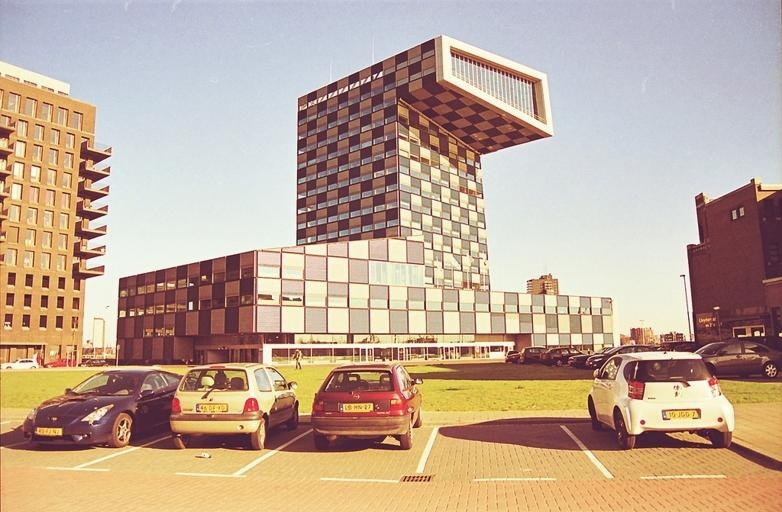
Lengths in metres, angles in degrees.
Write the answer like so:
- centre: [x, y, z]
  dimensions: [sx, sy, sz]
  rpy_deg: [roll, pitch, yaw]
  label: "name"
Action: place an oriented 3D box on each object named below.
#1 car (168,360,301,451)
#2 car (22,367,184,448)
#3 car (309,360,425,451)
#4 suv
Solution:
- centre: [-3.747, 3.804, 14.256]
  dimensions: [1.762, 2.095, 2.941]
  rpy_deg: [-10, -14, 36]
  label: "car"
- centre: [-7.368, 3.970, 14.628]
  dimensions: [1.488, 1.914, 3.192]
  rpy_deg: [-8, -13, 29]
  label: "car"
- centre: [-0.465, 3.640, 14.344]
  dimensions: [1.673, 1.154, 2.821]
  rpy_deg: [-1, -6, 8]
  label: "car"
- centre: [6.320, 3.373, 13.186]
  dimensions: [2.906, 2.235, 1.820]
  rpy_deg: [-8, -13, 27]
  label: "suv"
